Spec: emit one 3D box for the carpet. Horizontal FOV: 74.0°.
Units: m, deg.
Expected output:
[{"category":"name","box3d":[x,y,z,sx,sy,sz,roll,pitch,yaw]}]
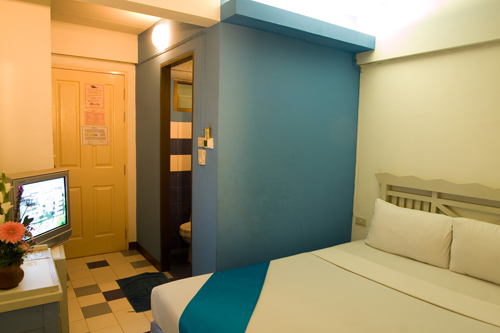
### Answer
[{"category":"carpet","box3d":[-1.343,1.534,4.171,0.380,0.015,0.532,-6,14,-28]}]
